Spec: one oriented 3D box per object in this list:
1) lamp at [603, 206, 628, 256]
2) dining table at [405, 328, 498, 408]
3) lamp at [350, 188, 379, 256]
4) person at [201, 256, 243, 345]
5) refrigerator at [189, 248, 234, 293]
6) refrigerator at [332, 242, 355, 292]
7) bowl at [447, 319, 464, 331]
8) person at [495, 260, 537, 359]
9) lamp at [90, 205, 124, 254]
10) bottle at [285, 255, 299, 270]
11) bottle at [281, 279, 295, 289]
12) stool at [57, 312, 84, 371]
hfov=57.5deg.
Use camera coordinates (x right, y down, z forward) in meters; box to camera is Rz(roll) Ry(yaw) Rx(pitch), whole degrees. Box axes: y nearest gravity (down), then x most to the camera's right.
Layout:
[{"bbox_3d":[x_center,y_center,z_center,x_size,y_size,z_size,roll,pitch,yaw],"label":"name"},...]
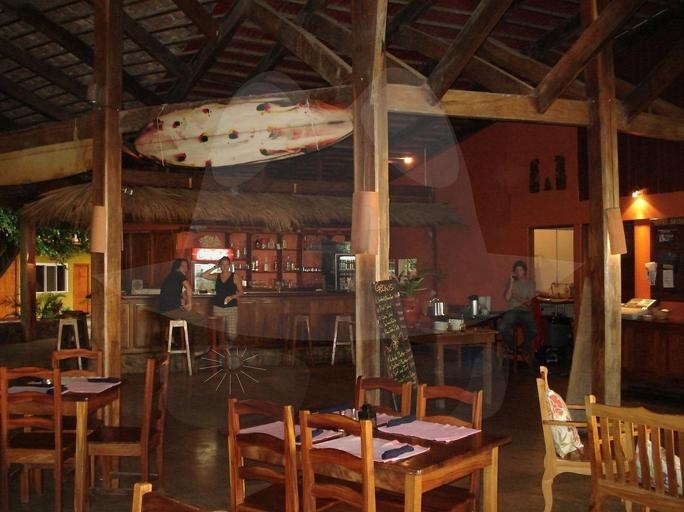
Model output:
[{"bbox_3d":[2.996,-0.279,6.859,0.184,0.526,0.227,-3,-7,21],"label":"lamp"},{"bbox_3d":[1.431,1.315,8.152,1.108,0.945,1.094,3,6,32],"label":"dining table"},{"bbox_3d":[0.198,-0.306,5.477,0.242,0.584,0.198,1,-7,-15],"label":"lamp"},{"bbox_3d":[-1.983,0.740,10.326,0.633,1.364,1.858,1,-7,-13],"label":"person"},{"bbox_3d":[-2.662,0.277,12.421,0.794,1.003,0.571,0,13,-25],"label":"refrigerator"},{"bbox_3d":[0.103,0.334,13.225,0.561,0.794,0.573,-3,6,-26],"label":"refrigerator"},{"bbox_3d":[1.461,0.891,7.988,0.183,0.118,0.134,0,-1,12],"label":"bowl"},{"bbox_3d":[2.860,0.907,10.185,0.589,1.616,0.471,-3,-7,21],"label":"person"},{"bbox_3d":[-2.331,-0.252,6.000,0.174,0.468,0.143,1,-7,-14],"label":"lamp"},{"bbox_3d":[-1.063,0.147,13.124,0.317,0.399,0.163,1,1,-3],"label":"bottle"},{"bbox_3d":[-1.104,0.590,12.960,0.171,0.191,0.304,-1,0,26],"label":"bottle"},{"bbox_3d":[-4.606,1.446,10.390,0.661,0.855,0.602,4,0,-16],"label":"stool"}]
